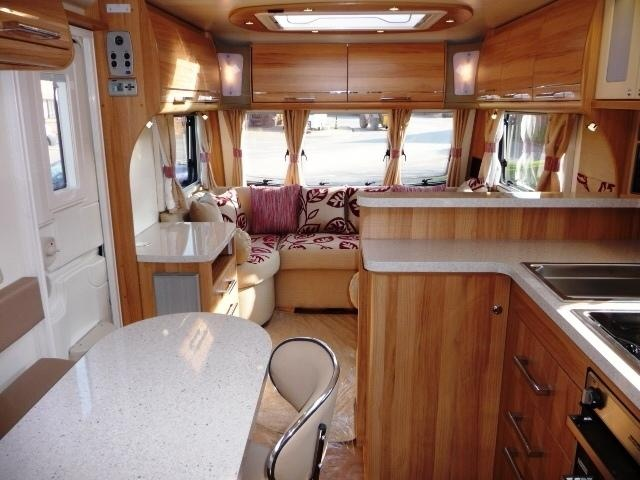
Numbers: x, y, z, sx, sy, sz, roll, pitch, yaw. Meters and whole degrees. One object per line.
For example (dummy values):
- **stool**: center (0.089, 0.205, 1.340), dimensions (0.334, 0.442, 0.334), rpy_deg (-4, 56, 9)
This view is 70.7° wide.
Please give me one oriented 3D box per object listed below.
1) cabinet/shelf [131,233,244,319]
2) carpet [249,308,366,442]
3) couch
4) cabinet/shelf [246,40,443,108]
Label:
- **cabinet/shelf**: center (-0.901, 0.324, 3.241), dimensions (0.590, 0.715, 0.760), rpy_deg (-3, 17, -6)
- **carpet**: center (-0.051, 1.090, 3.504), dimensions (0.650, 0.232, 0.998), rpy_deg (-1, 20, -1)
- **couch**: center (-0.030, 0.035, 4.301), dimensions (2.361, 1.046, 1.214), rpy_deg (-2, 23, -7)
- **cabinet/shelf**: center (0.291, -1.660, 4.675), dimensions (1.917, 0.622, 0.514), rpy_deg (1, 10, 1)
